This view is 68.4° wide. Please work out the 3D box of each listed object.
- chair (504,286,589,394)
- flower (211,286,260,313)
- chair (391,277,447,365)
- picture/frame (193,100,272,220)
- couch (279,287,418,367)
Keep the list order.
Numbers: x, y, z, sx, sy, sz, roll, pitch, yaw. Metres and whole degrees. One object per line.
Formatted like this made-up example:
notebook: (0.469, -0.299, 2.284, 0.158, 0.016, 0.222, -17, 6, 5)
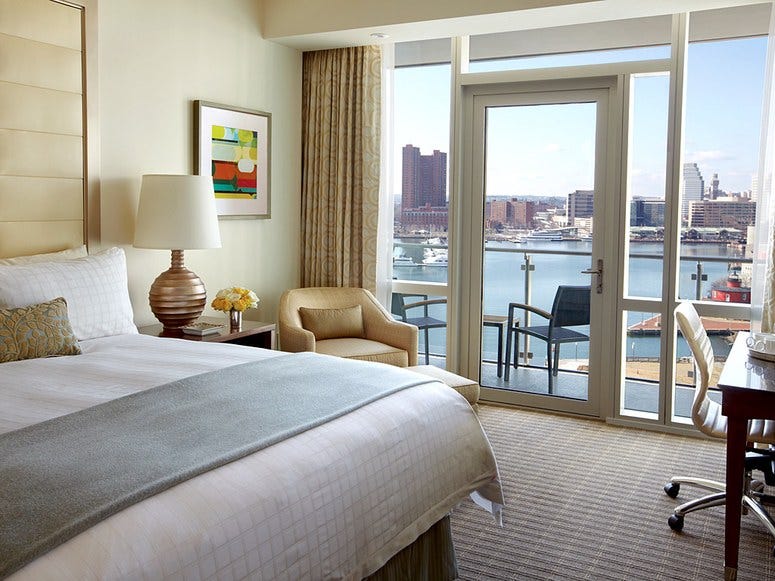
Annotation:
chair: (1.309, 0.380, 5.066, 0.535, 0.749, 0.552, 2, 1, 14)
flower: (-1.108, 0.050, 4.165, 0.232, 0.157, 0.238, 2, 2, -9)
chair: (0.284, 0.307, 5.200, 0.594, 0.952, 0.551, -1, 4, -10)
picture/frame: (-1.251, -1.039, 4.499, 0.099, 1.051, 1.057, 7, 7, 31)
couch: (-0.389, 0.272, 4.632, 0.800, 0.797, 0.754, 2, -4, -26)
